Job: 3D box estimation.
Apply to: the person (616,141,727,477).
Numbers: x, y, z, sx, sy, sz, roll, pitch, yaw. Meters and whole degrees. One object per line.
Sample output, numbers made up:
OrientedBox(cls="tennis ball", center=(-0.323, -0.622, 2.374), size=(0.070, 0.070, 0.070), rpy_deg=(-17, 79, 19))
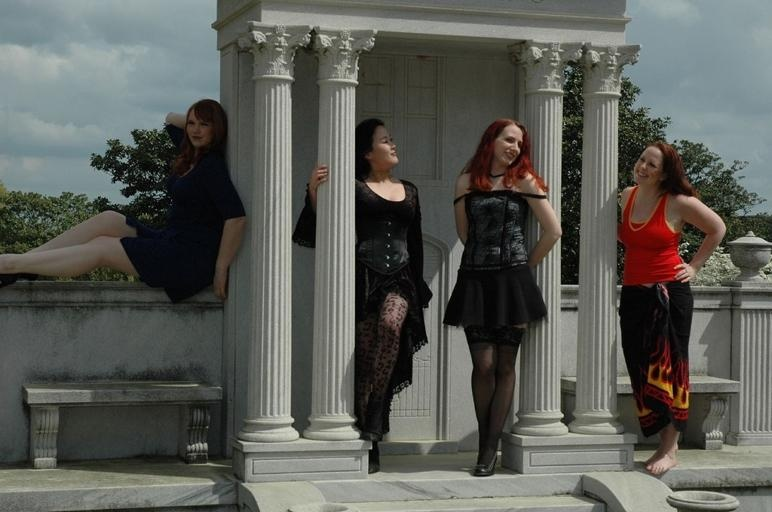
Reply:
OrientedBox(cls="person", center=(2.768, 0.525, 12.679), size=(0.979, 3.281, 0.715), rpy_deg=(7, 12, 23))

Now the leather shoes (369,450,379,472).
OrientedBox(cls="leather shoes", center=(-0.122, 2.050, 12.540), size=(0.115, 0.230, 0.278), rpy_deg=(2, 11, 0))

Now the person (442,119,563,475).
OrientedBox(cls="person", center=(1.078, 0.368, 12.601), size=(0.915, 3.425, 0.874), rpy_deg=(-7, 14, -38))
